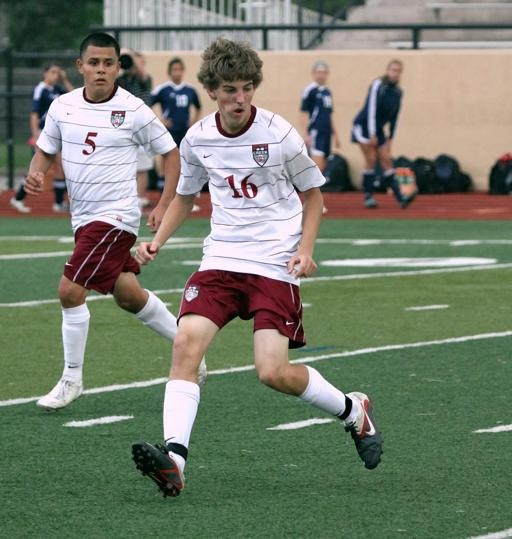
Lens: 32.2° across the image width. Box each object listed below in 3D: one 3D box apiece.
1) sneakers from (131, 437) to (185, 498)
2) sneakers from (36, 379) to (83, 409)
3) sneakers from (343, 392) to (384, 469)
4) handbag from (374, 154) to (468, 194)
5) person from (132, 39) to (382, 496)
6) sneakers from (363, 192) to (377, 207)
[{"bbox_3d":[-0.345,0.700,3.155,0.085,0.232,0.130,-40,4,33],"label":"sneakers"},{"bbox_3d":[-0.946,0.591,4.412,0.100,0.102,0.256,16,21,37],"label":"sneakers"},{"bbox_3d":[0.439,0.648,3.600,0.155,0.105,0.311,5,48,-20],"label":"sneakers"},{"bbox_3d":[1.322,-0.712,6.665,0.326,0.166,0.546,-3,5,-44],"label":"handbag"},{"bbox_3d":[-0.044,-0.114,3.525,0.741,1.565,0.847,-4,10,-7],"label":"person"},{"bbox_3d":[1.529,-0.927,11.956,0.146,0.198,0.213,-3,-16,2],"label":"sneakers"}]
